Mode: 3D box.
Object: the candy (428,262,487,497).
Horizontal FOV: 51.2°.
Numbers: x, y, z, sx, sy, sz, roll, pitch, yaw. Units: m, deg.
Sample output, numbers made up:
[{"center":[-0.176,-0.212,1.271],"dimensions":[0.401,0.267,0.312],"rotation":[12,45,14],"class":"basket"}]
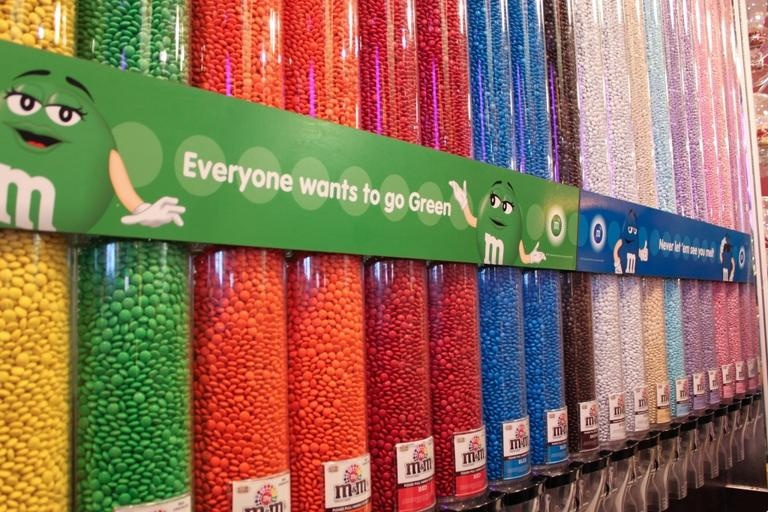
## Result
[{"center":[0.238,0.400,2.633],"dimensions":[0.186,0.733,0.257],"rotation":[0,11,0],"class":"candy"}]
